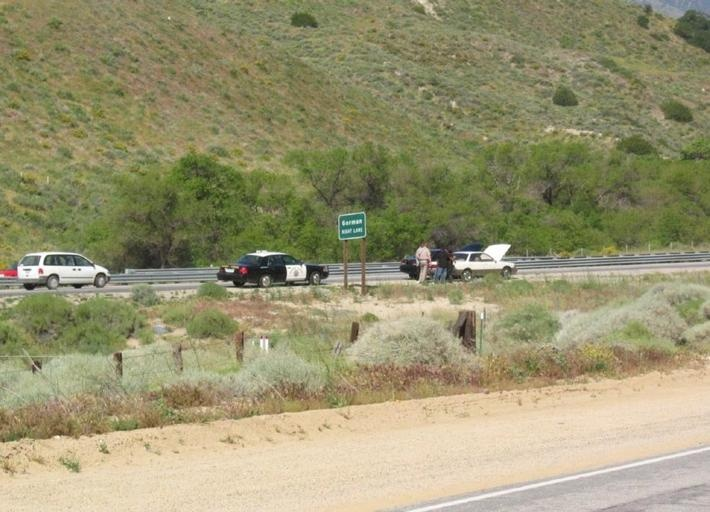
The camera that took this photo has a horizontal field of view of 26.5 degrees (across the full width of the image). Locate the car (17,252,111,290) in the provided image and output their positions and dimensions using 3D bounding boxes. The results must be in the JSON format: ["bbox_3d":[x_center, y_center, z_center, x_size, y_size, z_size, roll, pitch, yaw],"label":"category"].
[{"bbox_3d":[-25.370,1.212,129.346,7.191,3.123,1.064,-3,14,-14],"label":"car"}]
